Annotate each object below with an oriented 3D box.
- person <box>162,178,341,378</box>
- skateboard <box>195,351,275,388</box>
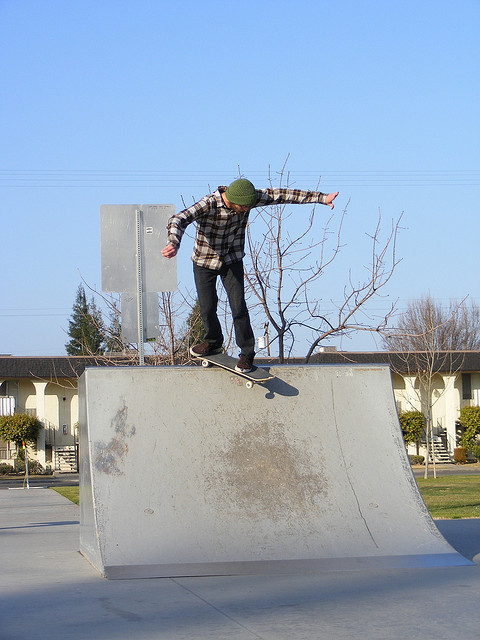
[{"bbox_3d":[0.024,-0.318,6.213,1.139,1.511,0.892,0,20,-9],"label":"person"},{"bbox_3d":[-0.059,0.369,6.166,0.511,0.095,0.135,28,32,20],"label":"skateboard"}]
